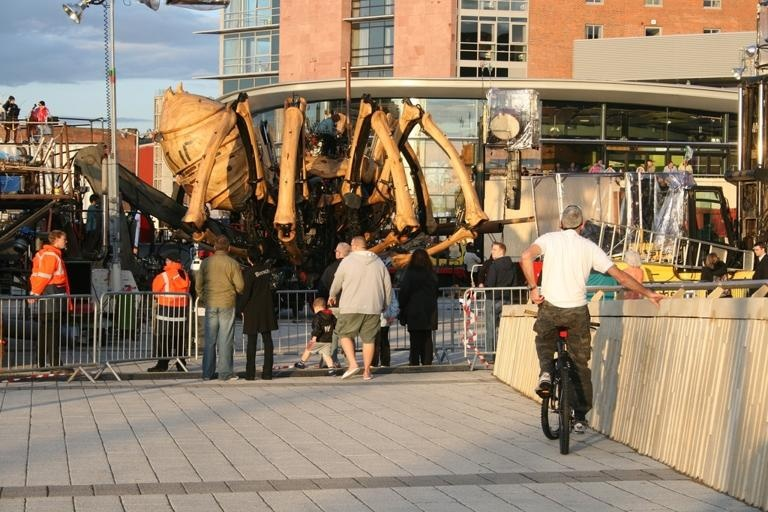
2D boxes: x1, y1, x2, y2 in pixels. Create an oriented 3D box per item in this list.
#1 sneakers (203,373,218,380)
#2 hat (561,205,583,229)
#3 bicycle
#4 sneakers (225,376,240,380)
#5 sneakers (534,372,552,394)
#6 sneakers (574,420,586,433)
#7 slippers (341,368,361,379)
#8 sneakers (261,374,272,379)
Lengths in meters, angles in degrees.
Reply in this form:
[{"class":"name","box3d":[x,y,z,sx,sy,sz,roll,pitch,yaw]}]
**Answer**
[{"class":"sneakers","box3d":[-3.717,2.651,32.448,0.286,0.133,0.226,4,-10,9]},{"class":"hat","box3d":[3.505,-0.674,27.708,0.384,0.428,0.437,3,-38,10]},{"class":"bicycle","box3d":[3.277,2.242,27.633,0.949,2.712,1.010,2,4,34]},{"class":"sneakers","box3d":[-3.233,2.646,32.428,0.247,0.087,0.082,2,-6,-18]},{"class":"sneakers","box3d":[2.943,2.358,27.398,0.280,0.438,0.189,0,3,1]},{"class":"sneakers","box3d":[3.656,3.182,27.829,0.254,0.208,0.200,1,2,4]},{"class":"slippers","box3d":[-0.693,2.590,32.608,0.491,0.172,0.182,-30,8,42]},{"class":"sneakers","box3d":[-2.504,2.644,32.503,0.141,0.072,0.128,1,4,0]}]
